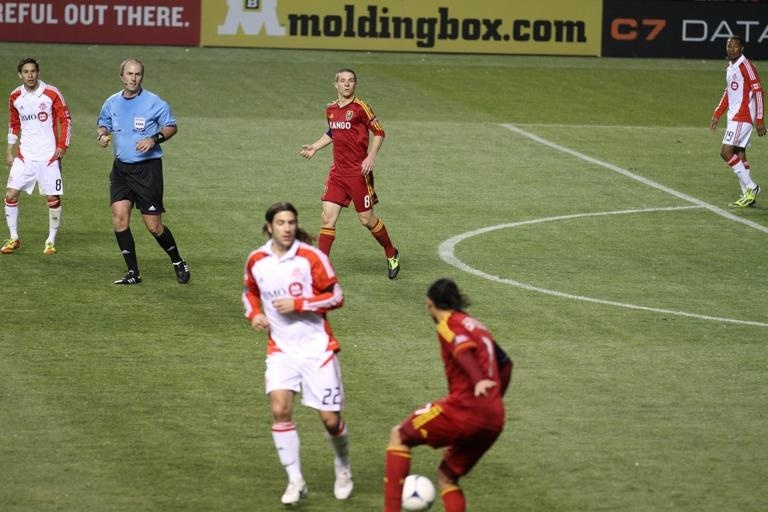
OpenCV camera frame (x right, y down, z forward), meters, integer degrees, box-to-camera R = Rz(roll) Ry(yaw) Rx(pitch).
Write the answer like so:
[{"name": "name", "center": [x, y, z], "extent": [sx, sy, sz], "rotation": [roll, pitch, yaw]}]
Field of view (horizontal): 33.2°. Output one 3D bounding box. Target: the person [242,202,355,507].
[{"name": "person", "center": [-0.891, 0.968, 13.316], "extent": [1.003, 2.988, 1.193], "rotation": [-4, 15, -13]}]

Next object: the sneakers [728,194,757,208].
[{"name": "sneakers", "center": [6.253, -0.935, 22.300], "extent": [0.620, 0.208, 0.187], "rotation": [1, 9, 3]}]

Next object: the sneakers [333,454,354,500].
[{"name": "sneakers", "center": [-0.444, 2.270, 13.355], "extent": [0.199, 0.417, 0.266], "rotation": [-1, 14, -2]}]

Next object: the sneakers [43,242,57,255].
[{"name": "sneakers", "center": [-4.911, -0.116, 18.783], "extent": [0.210, 0.189, 0.190], "rotation": [4, 6, 12]}]

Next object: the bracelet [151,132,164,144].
[{"name": "bracelet", "center": [-3.097, -1.594, 17.407], "extent": [0.178, 0.135, 0.164], "rotation": [-7, 10, -25]}]

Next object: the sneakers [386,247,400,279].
[{"name": "sneakers", "center": [0.094, 0.122, 18.264], "extent": [0.211, 0.396, 0.168], "rotation": [3, 0, -41]}]

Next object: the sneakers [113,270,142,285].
[{"name": "sneakers", "center": [-3.503, 0.297, 17.546], "extent": [0.476, 0.174, 0.146], "rotation": [-2, 8, -16]}]
